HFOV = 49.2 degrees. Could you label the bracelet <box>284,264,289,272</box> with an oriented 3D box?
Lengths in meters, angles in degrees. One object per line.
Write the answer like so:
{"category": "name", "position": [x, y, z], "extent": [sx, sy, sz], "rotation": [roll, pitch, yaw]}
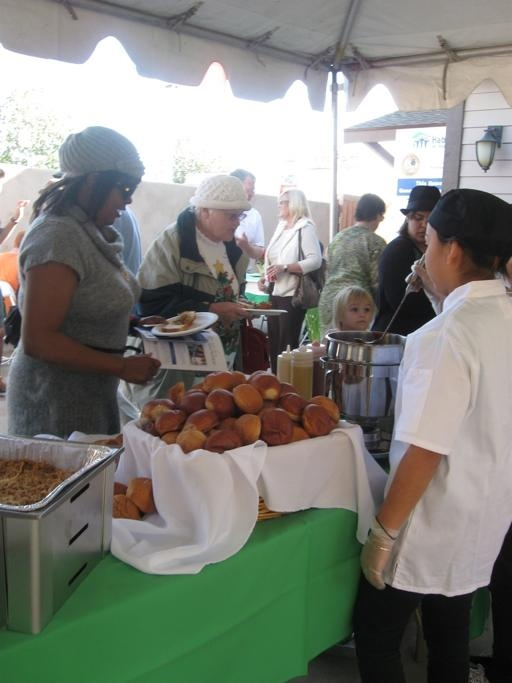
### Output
{"category": "bracelet", "position": [0.260, -0.620, 4.688], "extent": [0.032, 0.039, 0.046], "rotation": [2, -27, 15]}

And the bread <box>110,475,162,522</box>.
{"category": "bread", "position": [-0.290, 0.368, 1.275], "extent": [0.065, 0.092, 0.118], "rotation": [7, 5, 39]}

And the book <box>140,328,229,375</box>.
{"category": "book", "position": [-0.231, 0.034, 1.867], "extent": [0.193, 0.043, 0.187], "rotation": [-4, 39, -22]}

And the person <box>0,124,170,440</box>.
{"category": "person", "position": [-0.491, -0.155, 1.657], "extent": [0.430, 0.988, 0.535], "rotation": [2, 5, -23]}

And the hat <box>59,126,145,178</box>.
{"category": "hat", "position": [-0.464, -0.568, 1.731], "extent": [0.214, 0.155, 0.153], "rotation": [-23, 38, -6]}

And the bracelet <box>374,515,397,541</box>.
{"category": "bracelet", "position": [0.271, 0.397, 1.204], "extent": [0.046, 0.027, 0.054], "rotation": [17, 4, -12]}

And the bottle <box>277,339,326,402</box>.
{"category": "bottle", "position": [0.141, 0.117, 2.019], "extent": [0.208, 0.304, 0.189], "rotation": [-1, 2, -1]}

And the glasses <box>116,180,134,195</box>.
{"category": "glasses", "position": [-0.406, -0.477, 1.713], "extent": [0.041, 0.023, 0.048], "rotation": [13, 13, -5]}

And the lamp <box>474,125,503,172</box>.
{"category": "lamp", "position": [2.006, -1.708, 4.893], "extent": [0.216, 0.374, 0.231], "rotation": [7, 5, 37]}

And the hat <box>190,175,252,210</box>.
{"category": "hat", "position": [-0.171, -0.678, 2.557], "extent": [0.237, 0.106, 0.174], "rotation": [-1, 17, 2]}
